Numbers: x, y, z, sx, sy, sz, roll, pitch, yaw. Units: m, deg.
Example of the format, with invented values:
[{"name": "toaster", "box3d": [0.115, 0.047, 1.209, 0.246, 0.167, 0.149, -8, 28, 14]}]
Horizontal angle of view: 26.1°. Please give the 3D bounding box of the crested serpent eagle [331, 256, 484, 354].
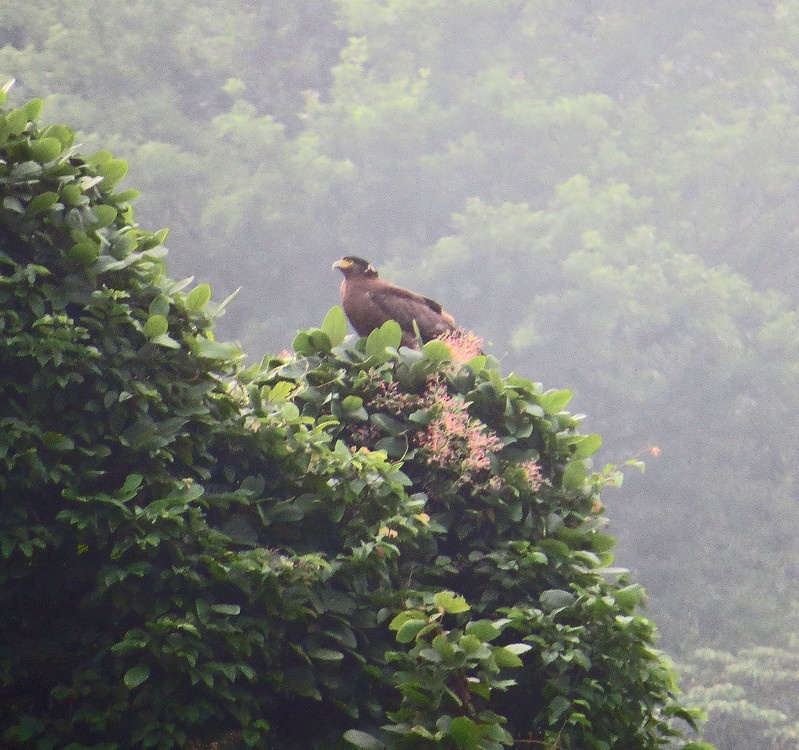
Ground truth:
[{"name": "crested serpent eagle", "box3d": [0.047, -0.327, 9.531, 0.950, 0.612, 0.340, 7, -5, -17]}]
